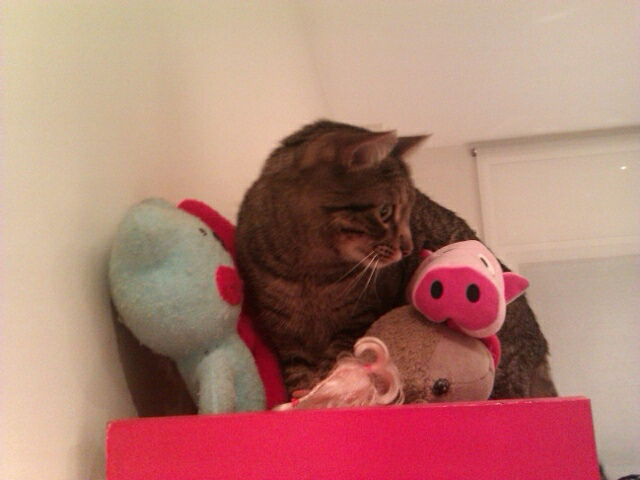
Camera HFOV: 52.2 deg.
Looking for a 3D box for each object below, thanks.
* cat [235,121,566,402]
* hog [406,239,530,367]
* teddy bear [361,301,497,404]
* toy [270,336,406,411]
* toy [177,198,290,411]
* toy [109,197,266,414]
[{"bbox_3d":[0.036,0.002,0.967,0.346,0.328,0.222,-17,21,-21],"label":"cat"},{"bbox_3d":[0.188,0.061,0.881,0.149,0.123,0.213,18,5,0],"label":"hog"},{"bbox_3d":[0.143,0.142,0.837,0.134,0.108,0.126,-13,19,-10],"label":"teddy bear"},{"bbox_3d":[0.020,0.174,0.794,0.158,0.070,0.088,-17,44,28],"label":"toy"},{"bbox_3d":[-0.165,0.086,0.979,0.189,0.277,0.312,-4,1,1],"label":"toy"},{"bbox_3d":[-0.169,0.095,0.857,0.157,0.286,0.131,6,25,35],"label":"toy"}]
